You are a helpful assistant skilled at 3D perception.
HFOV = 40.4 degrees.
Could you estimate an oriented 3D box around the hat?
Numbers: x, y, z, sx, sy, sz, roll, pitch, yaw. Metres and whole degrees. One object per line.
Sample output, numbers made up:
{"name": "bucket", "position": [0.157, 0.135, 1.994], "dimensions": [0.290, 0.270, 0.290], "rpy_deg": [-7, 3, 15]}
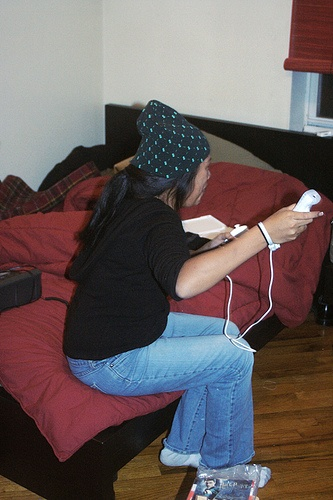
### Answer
{"name": "hat", "position": [0.006, -0.265, 1.076], "dimensions": [0.178, 0.188, 0.160], "rpy_deg": [2, 14, 13]}

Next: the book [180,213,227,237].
{"name": "book", "position": [0.174, -0.108, 1.995], "dimensions": [0.139, 0.019, 0.130], "rpy_deg": [-12, 30, -22]}

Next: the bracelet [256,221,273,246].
{"name": "bracelet", "position": [0.202, -0.035, 0.948], "dimensions": [0.011, 0.041, 0.041], "rpy_deg": [-32, 1, -2]}

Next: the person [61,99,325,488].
{"name": "person", "position": [0.007, 0.208, 1.155], "dimensions": [0.527, 1.143, 0.526], "rpy_deg": [-5, 15, -12]}
